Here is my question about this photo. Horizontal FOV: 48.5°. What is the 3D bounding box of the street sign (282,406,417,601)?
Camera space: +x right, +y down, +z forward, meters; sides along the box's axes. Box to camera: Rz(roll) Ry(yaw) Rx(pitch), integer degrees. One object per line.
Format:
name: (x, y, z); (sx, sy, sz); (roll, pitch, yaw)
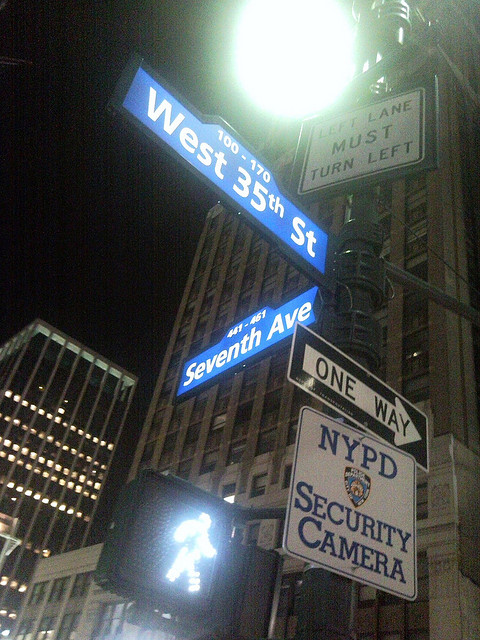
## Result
street sign: (0.716, 1.131, 3.403); (1.218, 1.194, 0.282); (36, -38, -24)

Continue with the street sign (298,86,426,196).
street sign: (1.334, -2.013, 5.945); (1.224, 1.274, 0.155); (-15, -44, 30)
